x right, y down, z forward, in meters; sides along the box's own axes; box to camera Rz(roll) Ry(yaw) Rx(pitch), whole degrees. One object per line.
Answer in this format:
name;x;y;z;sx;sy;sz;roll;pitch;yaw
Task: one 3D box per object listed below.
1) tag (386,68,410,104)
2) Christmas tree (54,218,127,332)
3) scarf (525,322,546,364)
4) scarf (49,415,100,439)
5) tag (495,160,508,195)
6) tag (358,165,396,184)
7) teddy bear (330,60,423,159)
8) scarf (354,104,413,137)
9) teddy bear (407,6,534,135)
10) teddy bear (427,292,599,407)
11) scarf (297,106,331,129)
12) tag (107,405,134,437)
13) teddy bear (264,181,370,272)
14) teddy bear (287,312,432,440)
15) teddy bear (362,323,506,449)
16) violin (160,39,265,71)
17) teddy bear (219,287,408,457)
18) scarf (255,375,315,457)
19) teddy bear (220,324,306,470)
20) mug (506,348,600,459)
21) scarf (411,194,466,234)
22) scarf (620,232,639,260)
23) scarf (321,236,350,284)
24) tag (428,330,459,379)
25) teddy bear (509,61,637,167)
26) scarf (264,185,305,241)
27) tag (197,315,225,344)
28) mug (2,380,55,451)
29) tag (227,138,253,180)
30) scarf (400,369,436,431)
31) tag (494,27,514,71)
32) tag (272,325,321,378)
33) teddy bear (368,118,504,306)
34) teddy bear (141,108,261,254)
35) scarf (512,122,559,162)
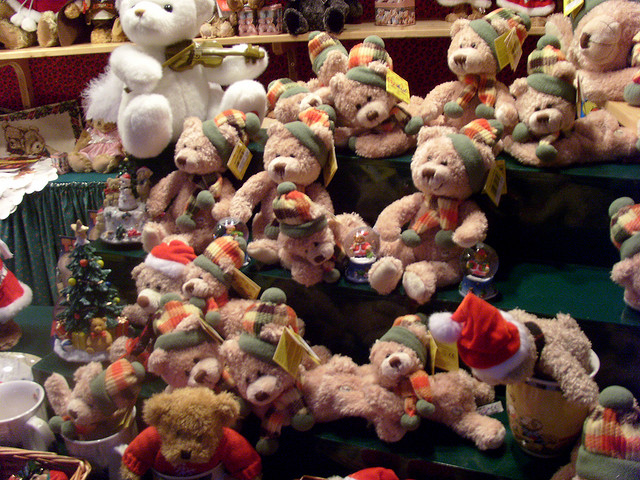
tag;0.333;-0.654;2.303;0.148;0.142;0.033;-16;18;-26
Christmas tree;-0.921;0.150;2.207;0.261;0.445;0.264;-1;16;1
scarf;0.678;0.329;1.727;0.056;0.076;0.087;-37;59;2
scarf;-0.890;0.662;1.976;0.146;0.056;0.085;12;26;15
tag;0.684;-0.236;2.082;0.026;0.103;0.097;1;-4;12
tag;0.245;-0.280;2.274;0.085;0.083;0.024;16;53;11
teddy bear;0.291;-0.498;2.441;0.375;0.309;0.403;-21;-8;26
scarf;0.260;-0.525;2.307;0.183;0.076;0.140;-17;16;-20
teddy bear;0.608;-0.687;2.248;0.456;0.450;0.313;3;21;20
teddy bear;0.640;0.337;1.786;0.569;0.260;0.460;10;4;-19
scarf;-0.017;-0.502;2.242;0.092;0.031;0.097;-28;51;-31
tag;-0.719;0.661;2.024;0.041;0.055;0.140;10;29;10
teddy bear;-0.023;-0.074;2.180;0.403;0.343;0.263;-7;20;-5
teddy bear;0.157;0.490;1.993;0.491;0.377;0.255;0;20;13
teddy bear;0.421;0.496;1.994;0.541;0.285;0.374;14;24;22
violin;-0.503;-0.898;2.646;0.425;0.113;0.175;-5;-21;-13
teddy bear;0.002;0.488;2.111;0.718;0.546;0.484;22;-10;-33
scarf;-0.120;0.643;2.041;0.165;0.291;0.117;41;-2;1
teddy bear;-0.206;0.538;2.011;0.363;0.564;0.257;3;5;15
mug;0.797;0.581;1.886;0.289;0.333;0.282;-13;2;-32
scarf;0.452;-0.098;2.084;0.151;0.157;0.069;20;18;29
scarf;1.045;0.023;1.847;0.021;0.070;0.056;7;56;-27
scarf;0.084;0.073;2.218;0.098;0.187;0.106;-10;0;33
tag;0.442;0.403;1.960;0.110;0.114;0.041;-4;-13;21
teddy bear;0.955;-0.501;2.218;0.460;0.346;0.360;-2;12;-5
scarf;-0.166;-0.141;2.265;0.160;0.218;0.085;-15;43;-44
tag;-0.409;0.331;2.033;0.021;0.122;0.018;-38;9;-6
mug;-1.058;0.642;1.995;0.137;0.203;0.219;-17;39;-40
tag;-0.350;-0.344;2.429;0.031;0.170;0.164;19;54;13
scarf;0.336;0.551;1.908;0.124;0.061;0.209;-7;55;22
tag;0.732;-0.770;2.189;0.053;0.140;0.129;17;-1;23
tag;-0.098;0.385;1.892;0.045;0.168;0.169;-19;37;42
teddy bear;0.454;-0.088;2.084;0.447;0.646;0.444;-24;33;-37
teddy bear;-0.511;-0.241;2.390;0.481;0.711;0.388;9;13;19
scarf;0.827;-0.375;2.109;0.169;0.127;0.144;3;22;22
